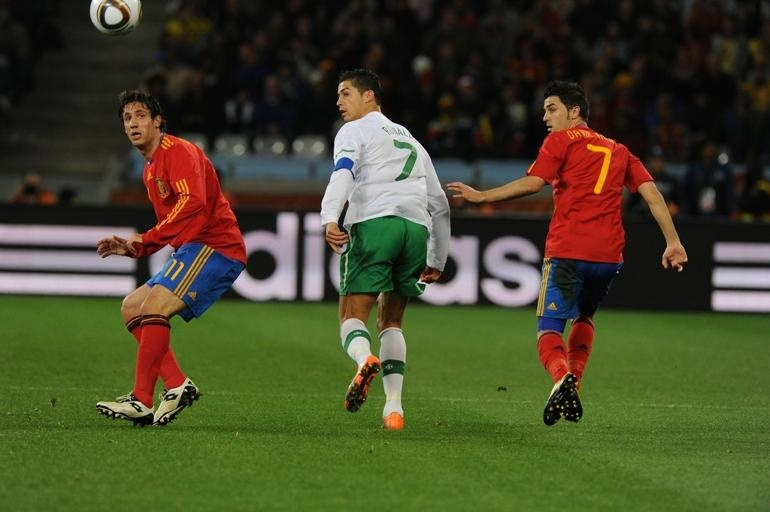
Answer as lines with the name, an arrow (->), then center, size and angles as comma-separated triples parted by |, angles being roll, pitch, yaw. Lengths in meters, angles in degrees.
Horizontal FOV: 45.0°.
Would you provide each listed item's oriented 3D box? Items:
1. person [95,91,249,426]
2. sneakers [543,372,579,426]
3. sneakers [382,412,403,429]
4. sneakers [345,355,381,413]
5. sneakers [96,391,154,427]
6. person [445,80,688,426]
person -> -1.793, -0.001, 7.930 | 1.161, 2.765, 0.664 | -1, 8, -17
sneakers -> 1.473, 1.190, 7.691 | 0.241, 0.447, 0.226 | 20, 5, 4
sneakers -> 0.077, 1.394, 7.922 | 0.136, 0.100, 0.138 | -2, 4, -22
sneakers -> -0.132, 1.012, 7.651 | 0.175, 0.509, 0.233 | -28, 60, -32
sneakers -> -2.140, 1.273, 7.760 | 0.508, 0.274, 0.172 | 20, -33, -35
person -> 1.701, -0.037, 8.019 | 1.528, 2.932, 1.060 | -6, 10, -41
